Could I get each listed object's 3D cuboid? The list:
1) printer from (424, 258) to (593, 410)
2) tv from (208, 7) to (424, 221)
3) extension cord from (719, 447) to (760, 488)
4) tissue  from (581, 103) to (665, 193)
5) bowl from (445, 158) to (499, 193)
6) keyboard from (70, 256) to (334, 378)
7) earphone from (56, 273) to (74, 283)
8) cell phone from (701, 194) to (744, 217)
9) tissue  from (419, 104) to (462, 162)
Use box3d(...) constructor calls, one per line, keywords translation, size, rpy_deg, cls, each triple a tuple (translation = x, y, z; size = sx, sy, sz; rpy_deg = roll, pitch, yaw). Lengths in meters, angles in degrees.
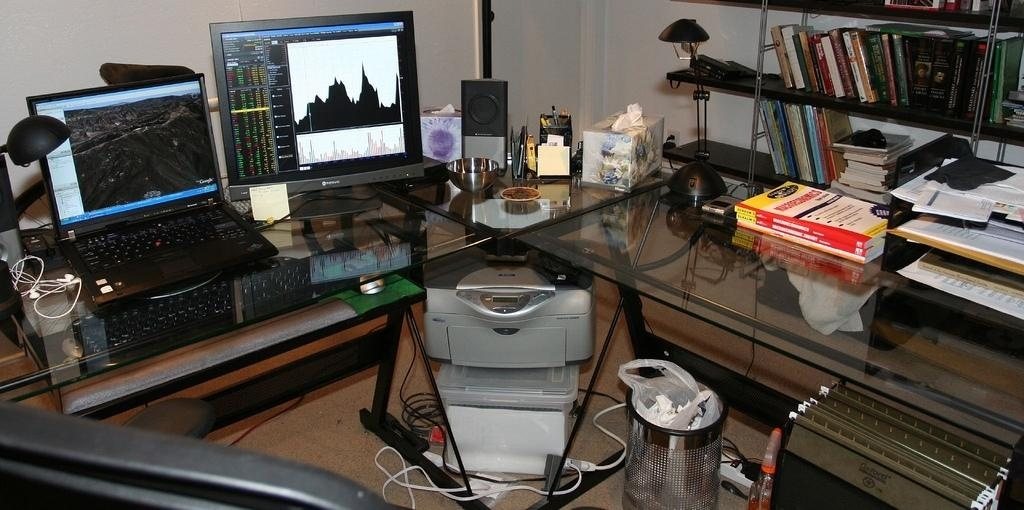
box3d(translation=(-0.028, 0.302, 3.036), size=(0.896, 0.407, 0.700), rpy_deg=(1, 24, 3), cls="printer")
box3d(translation=(-0.871, -0.697, 2.975), size=(1.203, 0.814, 0.246), rpy_deg=(-12, 26, -27), cls="tv")
box3d(translation=(1.113, 1.051, 3.258), size=(0.128, 0.050, 0.176), rpy_deg=(-15, 25, -33), cls="extension cord")
box3d(translation=(0.531, -0.556, 3.261), size=(0.532, 0.366, 0.586), rpy_deg=(6, 29, 12), cls="tissue ")
box3d(translation=(-0.189, -0.359, 3.165), size=(0.287, 0.130, 0.262), rpy_deg=(-1, -11, 0), cls="bowl")
box3d(translation=(-1.221, 0.229, 2.496), size=(0.971, 0.143, 0.348), rpy_deg=(-17, 41, -25), cls="keyboard")
box3d(translation=(-1.775, 0.093, 2.641), size=(0.033, 0.017, 0.052), rpy_deg=(-19, 37, -39), cls="earphone")
box3d(translation=(0.942, -0.227, 2.994), size=(0.138, 0.032, 0.097), rpy_deg=(-29, 37, -33), cls="cell phone")
box3d(translation=(-0.344, -0.604, 3.255), size=(0.277, 0.234, 0.260), rpy_deg=(-1, 3, -31), cls="tissue ")
